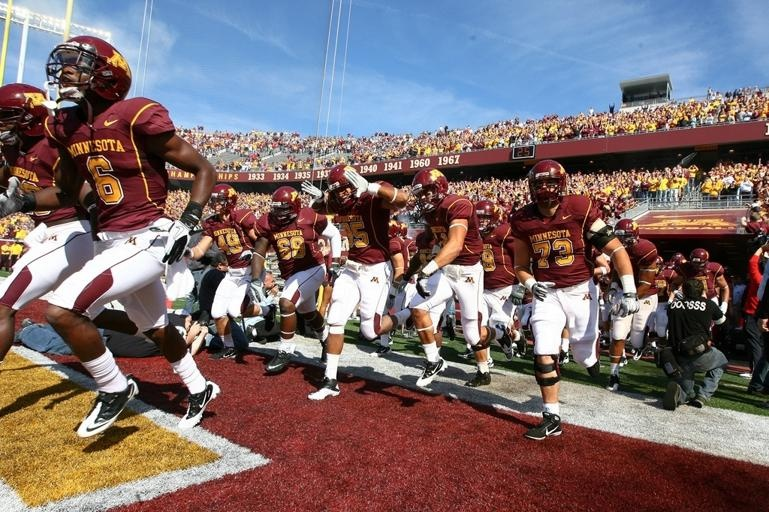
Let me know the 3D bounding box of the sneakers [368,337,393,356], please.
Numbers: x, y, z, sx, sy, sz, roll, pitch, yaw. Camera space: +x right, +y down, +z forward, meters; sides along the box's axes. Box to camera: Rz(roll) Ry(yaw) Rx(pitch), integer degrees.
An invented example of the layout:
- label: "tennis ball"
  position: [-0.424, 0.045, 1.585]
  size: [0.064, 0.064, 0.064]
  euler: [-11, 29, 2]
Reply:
- label: "sneakers"
  position: [-0.034, 1.591, 9.285]
  size: [0.191, 0.215, 0.540]
  euler: [-2, -10, 33]

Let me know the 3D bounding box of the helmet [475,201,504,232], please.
- label: "helmet"
  position: [1.892, -0.804, 9.705]
  size: [0.449, 0.446, 0.576]
  euler: [9, 27, 35]

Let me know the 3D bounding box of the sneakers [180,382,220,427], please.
- label: "sneakers"
  position: [-1.885, 1.496, 5.419]
  size: [0.191, 0.496, 0.247]
  euler: [16, -23, 33]

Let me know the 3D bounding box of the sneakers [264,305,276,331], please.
- label: "sneakers"
  position: [-1.962, 1.080, 9.354]
  size: [0.177, 0.443, 0.200]
  euler: [9, 28, -3]

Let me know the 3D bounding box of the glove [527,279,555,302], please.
- label: "glove"
  position: [1.774, 0.393, 6.142]
  size: [0.273, 0.092, 0.258]
  euler: [-36, 28, -26]

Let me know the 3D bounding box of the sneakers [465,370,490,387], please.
- label: "sneakers"
  position: [1.216, 1.703, 7.419]
  size: [0.448, 0.242, 0.156]
  euler: [3, -2, -4]

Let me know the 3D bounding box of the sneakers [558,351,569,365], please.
- label: "sneakers"
  position: [3.247, 1.835, 9.587]
  size: [0.161, 0.175, 0.455]
  euler: [-11, -19, 21]

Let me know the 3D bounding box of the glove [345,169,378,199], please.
- label: "glove"
  position: [-0.294, -0.899, 6.581]
  size: [0.440, 0.266, 0.143]
  euler: [25, -5, -8]

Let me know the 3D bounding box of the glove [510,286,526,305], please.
- label: "glove"
  position: [2.079, 0.606, 8.300]
  size: [0.123, 0.326, 0.260]
  euler: [-11, -7, -34]

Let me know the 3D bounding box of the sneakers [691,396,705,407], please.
- label: "sneakers"
  position: [4.173, 1.951, 7.129]
  size: [0.117, 0.114, 0.193]
  euler: [46, -23, -30]

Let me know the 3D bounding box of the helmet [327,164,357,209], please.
- label: "helmet"
  position: [-0.551, -0.933, 6.938]
  size: [0.439, 0.464, 0.536]
  euler: [-8, 15, 17]

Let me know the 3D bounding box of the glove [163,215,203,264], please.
- label: "glove"
  position: [-1.838, -0.142, 4.856]
  size: [0.362, 0.422, 0.196]
  euler: [-7, 11, -35]

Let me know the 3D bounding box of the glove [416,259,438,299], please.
- label: "glove"
  position: [0.455, 0.307, 6.377]
  size: [0.189, 0.345, 0.498]
  euler: [5, 21, 3]

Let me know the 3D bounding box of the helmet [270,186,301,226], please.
- label: "helmet"
  position: [-1.431, -0.774, 7.672]
  size: [0.402, 0.428, 0.546]
  euler: [11, 26, 32]

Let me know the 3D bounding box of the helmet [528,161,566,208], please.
- label: "helmet"
  position: [1.920, -0.855, 6.180]
  size: [0.400, 0.411, 0.576]
  euler: [-9, -4, 38]

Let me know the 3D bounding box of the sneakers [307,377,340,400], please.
- label: "sneakers"
  position: [-0.783, 1.598, 6.340]
  size: [0.438, 0.228, 0.158]
  euler: [2, -3, -30]

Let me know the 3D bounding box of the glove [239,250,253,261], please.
- label: "glove"
  position: [-2.188, -0.009, 8.458]
  size: [0.176, 0.076, 0.227]
  euler: [13, -19, -43]

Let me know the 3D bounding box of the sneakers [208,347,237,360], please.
- label: "sneakers"
  position: [-2.424, 1.470, 8.009]
  size: [0.389, 0.137, 0.154]
  euler: [8, 0, -24]

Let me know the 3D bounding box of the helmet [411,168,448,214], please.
- label: "helmet"
  position: [0.593, -0.882, 6.933]
  size: [0.482, 0.484, 0.573]
  euler: [-11, 5, 34]
